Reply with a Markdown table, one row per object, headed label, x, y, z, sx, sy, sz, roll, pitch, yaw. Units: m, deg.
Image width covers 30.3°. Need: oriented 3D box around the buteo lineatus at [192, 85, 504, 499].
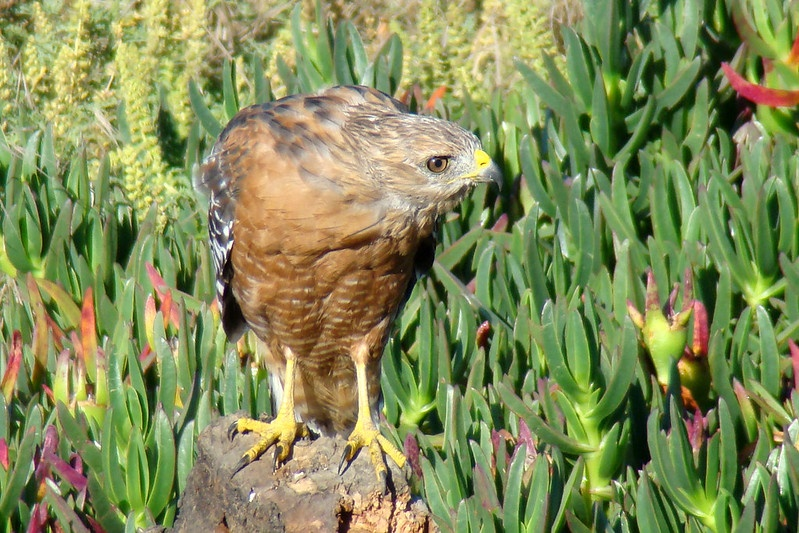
| label | x | y | z | sx | sy | sz | roll | pitch | yaw |
| --- | --- | --- | --- | --- | --- | --- | --- | --- | --- |
| buteo lineatus | -0.406 | -0.128 | 7.565 | 1.267 | 2.225 | 1.754 | -3 | 6 | -31 |
